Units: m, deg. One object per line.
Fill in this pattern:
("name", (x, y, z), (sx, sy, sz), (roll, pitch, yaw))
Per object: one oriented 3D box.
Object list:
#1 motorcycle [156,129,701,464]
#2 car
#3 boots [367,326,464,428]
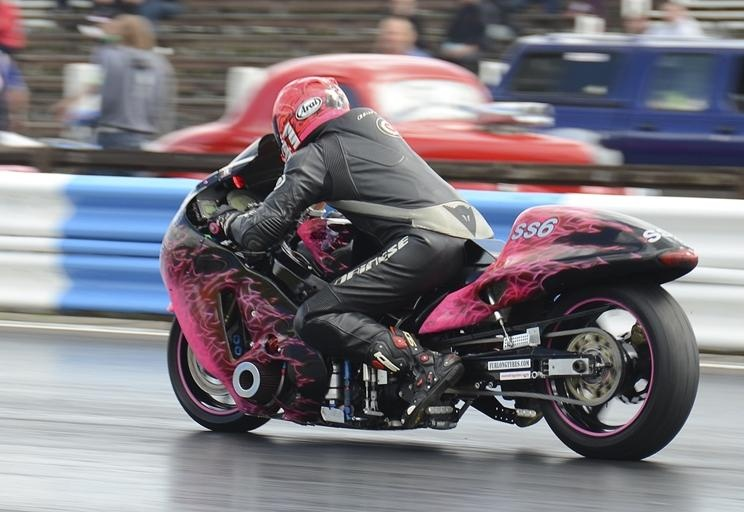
("motorcycle", (0.297, 0.454, 6.404), (3.277, 1.649, 1.059), (10, 36, 19))
("car", (0.218, -1.195, 10.049), (3.612, 1.009, 1.852), (2, 7, 23))
("boots", (0.240, 0.705, 6.261), (0.358, 0.513, 0.470), (-21, 38, -26))
